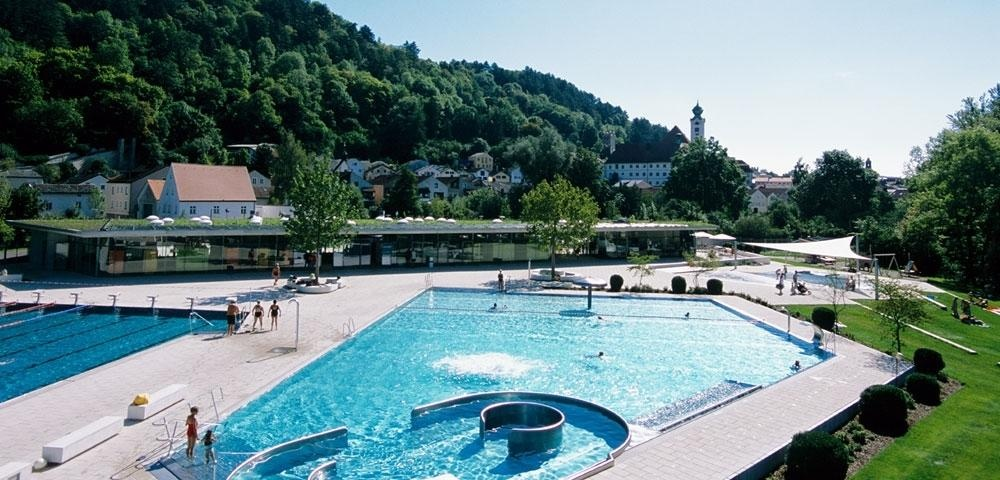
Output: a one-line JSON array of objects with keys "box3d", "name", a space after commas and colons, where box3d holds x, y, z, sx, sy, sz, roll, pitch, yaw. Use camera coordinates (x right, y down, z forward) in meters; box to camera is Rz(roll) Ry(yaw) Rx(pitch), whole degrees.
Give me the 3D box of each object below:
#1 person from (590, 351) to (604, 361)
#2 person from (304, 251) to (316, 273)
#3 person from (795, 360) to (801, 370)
[{"box3d": [10.103, 11.831, 70.527, 1.312, 0.628, 1.015, 3, 5, 4], "name": "person"}, {"box3d": [-24.678, 2.795, 88.377, 1.139, 2.640, 1.343, 0, 6, -26], "name": "person"}, {"box3d": [30.085, 12.645, 69.230, 0.678, 0.772, 0.304, 1, -16, 9], "name": "person"}]
